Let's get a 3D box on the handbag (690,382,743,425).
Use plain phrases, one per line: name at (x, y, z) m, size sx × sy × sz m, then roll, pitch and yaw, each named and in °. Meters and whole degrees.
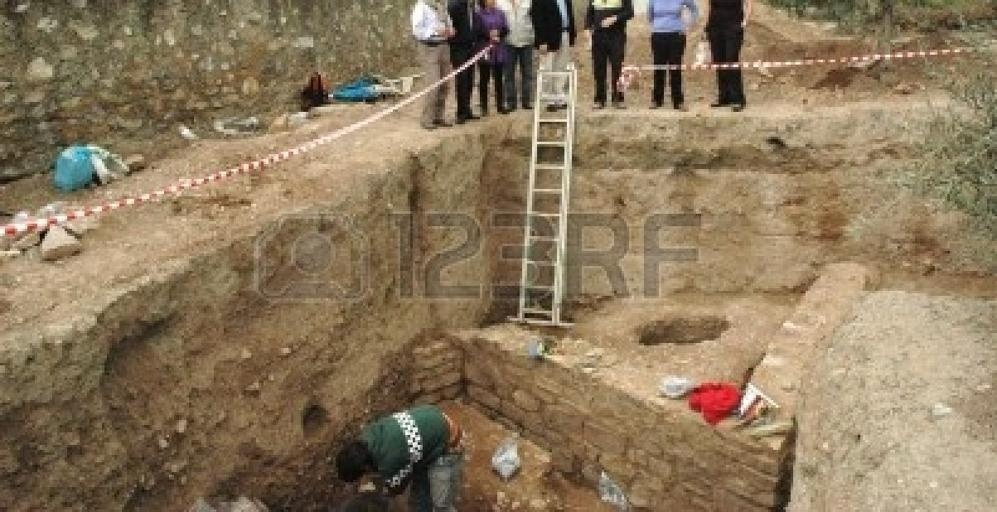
handbag at (2.517, 1.708, 10.656) m, size 0.540 × 0.165 × 0.492 m, roll -16°, pitch 13°, yaw -5°
